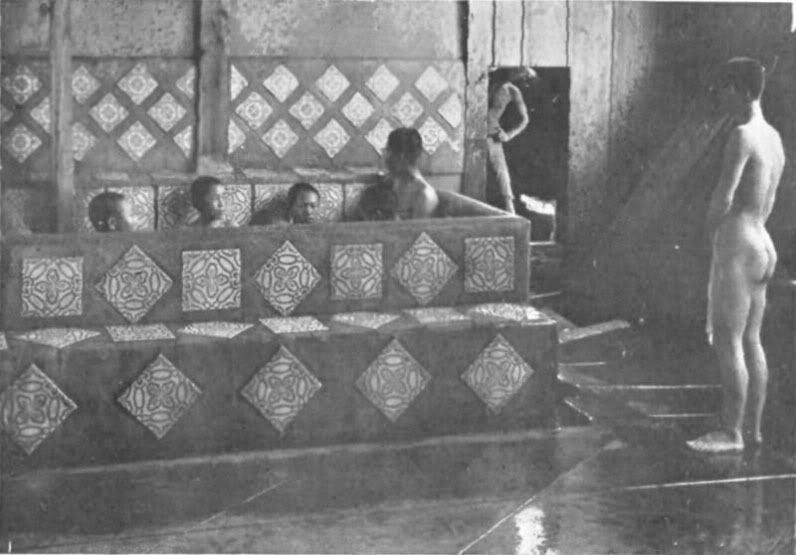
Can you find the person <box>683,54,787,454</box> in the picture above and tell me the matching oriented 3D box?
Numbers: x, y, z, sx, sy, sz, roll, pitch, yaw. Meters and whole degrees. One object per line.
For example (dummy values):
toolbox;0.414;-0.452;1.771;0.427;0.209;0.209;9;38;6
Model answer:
person;1.353;-0.085;6.116;0.293;1.523;0.132;0;7;3
